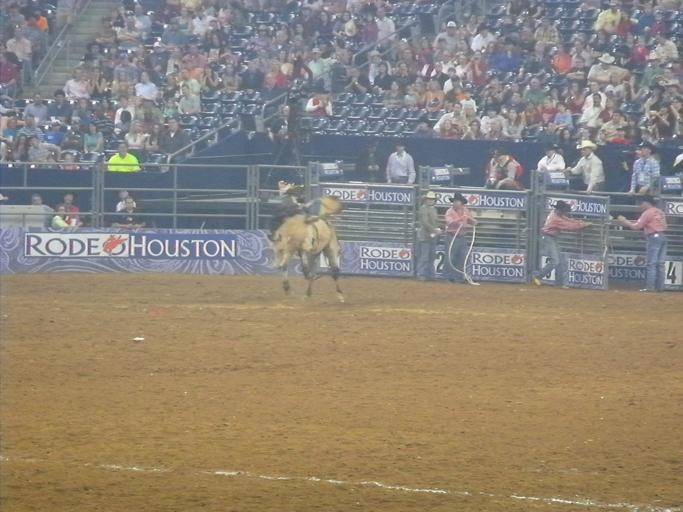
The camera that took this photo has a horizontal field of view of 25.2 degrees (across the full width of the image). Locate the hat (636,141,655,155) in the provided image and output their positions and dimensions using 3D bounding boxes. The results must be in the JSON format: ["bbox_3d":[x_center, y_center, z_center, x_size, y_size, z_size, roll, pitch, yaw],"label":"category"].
[{"bbox_3d":[8.131,-2.881,41.103,0.601,0.433,0.154,6,6,12],"label":"hat"}]

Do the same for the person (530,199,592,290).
[{"bbox_3d":[5.828,-0.317,40.832,1.006,2.275,1.329,0,1,-18],"label":"person"}]

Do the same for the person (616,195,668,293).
[{"bbox_3d":[8.078,-0.334,40.332,0.936,2.491,0.603,0,1,-3],"label":"person"}]

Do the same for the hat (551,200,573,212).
[{"bbox_3d":[5.858,-1.301,40.494,0.439,0.336,0.381,0,1,5],"label":"hat"}]

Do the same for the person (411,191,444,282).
[{"bbox_3d":[2.337,-0.534,41.681,0.597,2.380,1.158,0,1,0],"label":"person"}]

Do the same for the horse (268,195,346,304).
[{"bbox_3d":[-0.815,-0.416,37.037,1.565,2.037,0.768,0,1,-40],"label":"horse"}]
